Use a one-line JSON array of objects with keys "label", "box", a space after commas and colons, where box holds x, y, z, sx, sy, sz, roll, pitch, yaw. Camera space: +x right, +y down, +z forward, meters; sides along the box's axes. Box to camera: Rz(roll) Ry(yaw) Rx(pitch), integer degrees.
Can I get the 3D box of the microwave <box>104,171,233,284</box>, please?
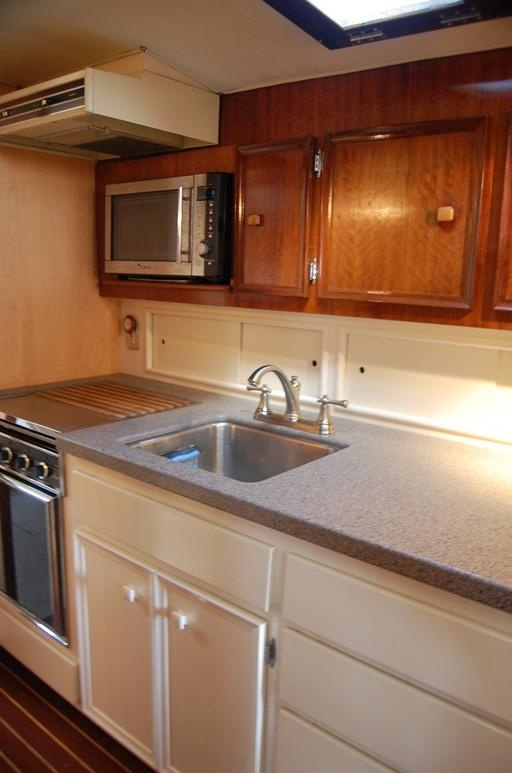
[{"label": "microwave", "box": [-0.326, -0.558, 2.089, 0.126, 0.329, 0.657, -8, 14, -41]}]
